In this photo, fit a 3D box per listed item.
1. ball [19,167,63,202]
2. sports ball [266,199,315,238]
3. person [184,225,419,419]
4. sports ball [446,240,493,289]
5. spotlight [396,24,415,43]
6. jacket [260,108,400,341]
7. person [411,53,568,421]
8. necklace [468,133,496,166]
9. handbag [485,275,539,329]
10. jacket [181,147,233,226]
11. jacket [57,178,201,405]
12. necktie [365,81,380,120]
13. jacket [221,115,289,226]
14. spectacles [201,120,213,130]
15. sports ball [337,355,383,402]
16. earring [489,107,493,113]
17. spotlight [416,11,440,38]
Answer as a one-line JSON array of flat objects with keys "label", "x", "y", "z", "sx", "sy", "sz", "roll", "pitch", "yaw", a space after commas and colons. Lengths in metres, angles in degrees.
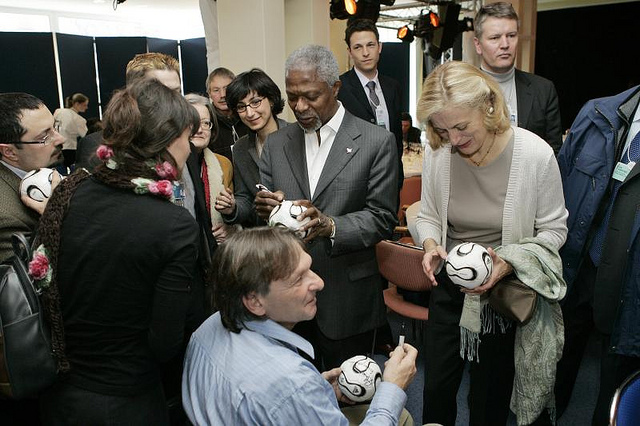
[{"label": "ball", "x": -1.341, "y": -0.116, "z": 2.402, "sx": 0.200, "sy": 0.189, "sz": 0.155, "roll": -10, "pitch": 22, "yaw": -26}, {"label": "sports ball", "x": -0.151, "y": 0.019, "z": 2.435, "sx": 0.189, "sy": 0.163, "sz": 0.150, "roll": 14, "pitch": 50, "yaw": 28}, {"label": "person", "x": -0.133, "y": 0.460, "z": 2.068, "sx": 0.772, "sy": 0.713, "sz": 0.851, "roll": -12, "pitch": 26, "yaw": -25}, {"label": "sports ball", "x": 0.691, "y": 0.234, "z": 2.439, "sx": 0.192, "sy": 0.233, "sz": 0.207, "roll": 21, "pitch": 11, "yaw": -4}, {"label": "spotlight", "x": 1.764, "y": -3.691, "z": 10.262, "sx": 0.328, "sy": 0.321, "sz": 0.499, "roll": 1, "pitch": 12, "yaw": 16}, {"label": "jacket", "x": 0.111, "y": 0.031, "z": 2.801, "sx": 0.782, "sy": 1.129, "sz": 0.451, "roll": 1, "pitch": 22, "yaw": 0}, {"label": "person", "x": 0.826, "y": 0.201, "z": 2.543, "sx": 0.775, "sy": 1.900, "sz": 0.548, "roll": 3, "pitch": 13, "yaw": 26}, {"label": "necklace", "x": 0.831, "y": -0.328, "z": 2.575, "sx": 0.138, "sy": 0.156, "sz": 0.017, "roll": 7, "pitch": 15, "yaw": 37}, {"label": "handbag", "x": 0.963, "y": 0.427, "z": 2.476, "sx": 0.252, "sy": 0.229, "sz": 0.084, "roll": 35, "pitch": 20, "yaw": 18}, {"label": "jacket", "x": -0.603, "y": -0.174, "z": 3.074, "sx": 0.138, "sy": 0.417, "sz": 0.299, "roll": -14, "pitch": -22, "yaw": 39}, {"label": "jacket", "x": -0.938, "y": 0.327, "z": 2.265, "sx": 0.692, "sy": 0.983, "sz": 0.539, "roll": 10, "pitch": 9, "yaw": -3}, {"label": "necktie", "x": 0.485, "y": -1.030, "z": 4.571, "sx": 0.115, "sy": 0.335, "sz": 0.064, "roll": 0, "pitch": -15, "yaw": -12}, {"label": "jacket", "x": -0.375, "y": -0.216, "z": 3.121, "sx": 0.424, "sy": 0.629, "sz": 0.347, "roll": -6, "pitch": 1, "yaw": -9}, {"label": "spectacles", "x": -0.712, "y": -0.551, "z": 3.130, "sx": 0.026, "sy": 0.058, "sz": 0.117, "roll": 2, "pitch": 13, "yaw": 21}, {"label": "sports ball", "x": 0.166, "y": 0.715, "z": 2.237, "sx": 0.178, "sy": 0.195, "sz": 0.186, "roll": 2, "pitch": -7, "yaw": 0}, {"label": "earring", "x": 0.842, "y": -0.506, "z": 2.467, "sx": 0.026, "sy": 0.027, "sz": 0.008, "roll": -7, "pitch": 0, "yaw": 22}, {"label": "spotlight", "x": 2.087, "y": -3.656, "z": 9.694, "sx": 0.372, "sy": 0.377, "sz": 0.375, "roll": 7, "pitch": 1, "yaw": 22}]
